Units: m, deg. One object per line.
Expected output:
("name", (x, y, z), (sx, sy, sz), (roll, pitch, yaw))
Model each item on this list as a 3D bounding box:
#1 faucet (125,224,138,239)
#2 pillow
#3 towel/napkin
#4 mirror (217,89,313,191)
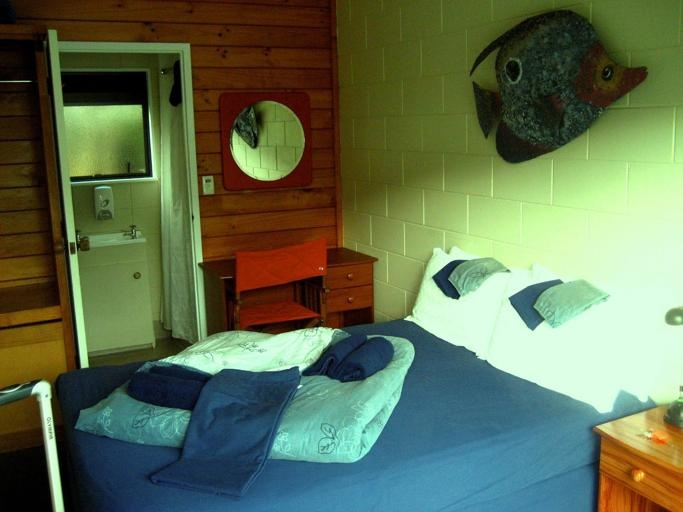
("faucet", (-1.824, -0.207, 4.999), (0.155, 0.145, 0.107), (-2, 12, -24))
("pillow", (0.958, 0.330, 2.914), (0.544, 0.256, 0.864), (-18, 27, -33))
("towel/napkin", (-0.460, 0.657, 2.396), (0.642, 0.154, 0.668), (0, 13, 15))
("mirror", (-0.649, -0.942, 4.563), (0.789, 0.759, 0.076), (-7, 13, -21))
